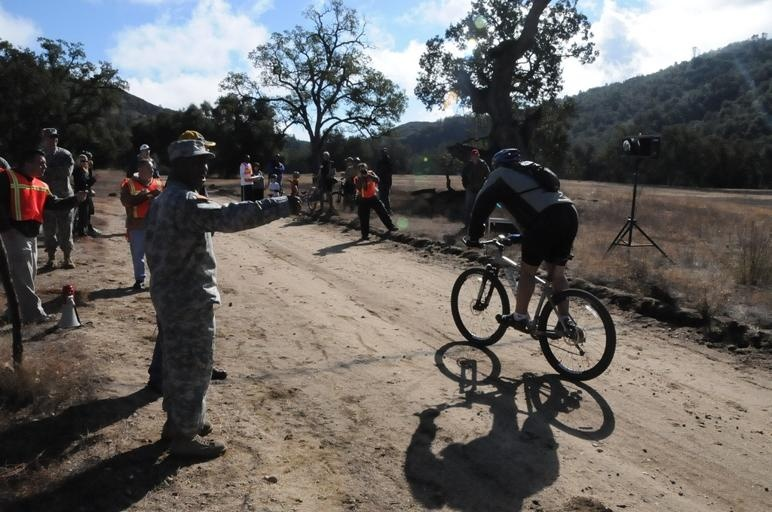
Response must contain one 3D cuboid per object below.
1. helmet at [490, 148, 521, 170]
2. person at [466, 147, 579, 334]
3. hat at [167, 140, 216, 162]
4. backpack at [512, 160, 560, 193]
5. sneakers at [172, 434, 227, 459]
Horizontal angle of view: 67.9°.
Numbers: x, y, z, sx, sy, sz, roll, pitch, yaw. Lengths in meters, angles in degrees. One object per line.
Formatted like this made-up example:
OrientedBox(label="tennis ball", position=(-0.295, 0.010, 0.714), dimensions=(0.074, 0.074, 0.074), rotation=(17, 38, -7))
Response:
OrientedBox(label="helmet", position=(1.696, -1.394, 8.304), dimensions=(0.399, 0.327, 0.312), rotation=(-20, 1, 39))
OrientedBox(label="person", position=(1.932, -0.201, 8.063), dimensions=(1.362, 2.546, 0.479), rotation=(3, 10, 20))
OrientedBox(label="hat", position=(-2.217, -1.138, 6.439), dimensions=(0.381, 0.144, 0.282), rotation=(-4, 11, -39))
OrientedBox(label="backpack", position=(2.099, -1.117, 8.054), dimensions=(0.600, 0.415, 0.359), rotation=(4, 10, 23))
OrientedBox(label="sneakers", position=(-2.105, 2.148, 6.538), dimensions=(0.634, 0.293, 0.238), rotation=(2, 12, -14))
